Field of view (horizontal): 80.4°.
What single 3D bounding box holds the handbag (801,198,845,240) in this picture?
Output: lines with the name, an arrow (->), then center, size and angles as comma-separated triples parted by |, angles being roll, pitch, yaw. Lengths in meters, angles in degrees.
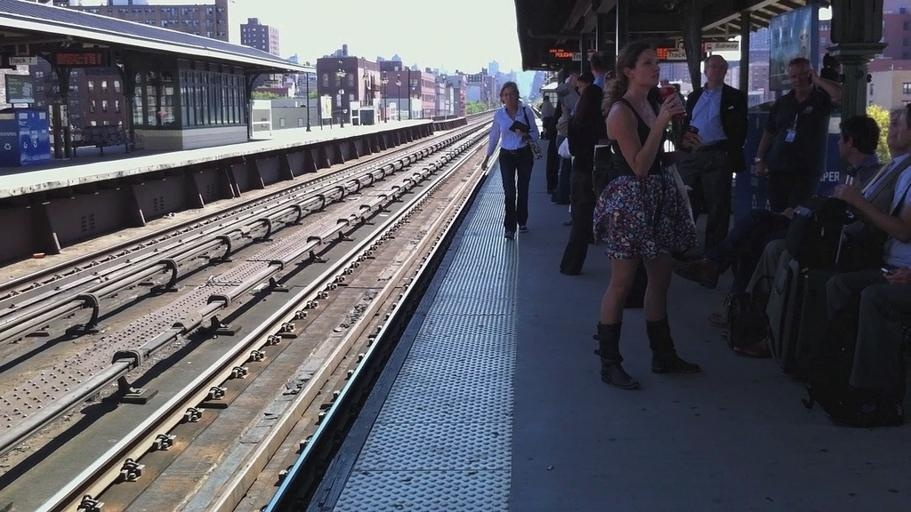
handbag -> 3.065, -0.312, 4.434 | 0.334, 0.380, 0.291 | 4, 6, 2

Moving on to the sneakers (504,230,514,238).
sneakers -> 1.023, -0.398, 10.242 | 0.169, 0.155, 0.149 | -4, 15, 6

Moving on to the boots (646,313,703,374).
boots -> 2.053, 0.877, 5.103 | 0.560, 0.517, 0.257 | 5, -19, -10

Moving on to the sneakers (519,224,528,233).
sneakers -> 1.337, -0.526, 10.673 | 0.170, 0.154, 0.400 | -1, 2, -1
